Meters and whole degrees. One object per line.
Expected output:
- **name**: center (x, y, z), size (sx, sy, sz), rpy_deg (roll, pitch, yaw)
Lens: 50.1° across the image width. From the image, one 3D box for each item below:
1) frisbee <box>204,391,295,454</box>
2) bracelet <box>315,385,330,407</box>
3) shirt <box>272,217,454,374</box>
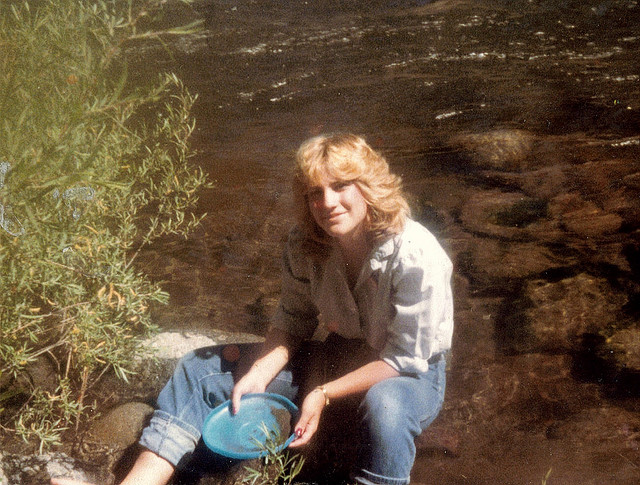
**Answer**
- **frisbee**: center (-0.379, 0.957, 3.627), size (0.477, 0.109, 0.362), rpy_deg (-17, 38, -19)
- **bracelet**: center (0.031, 0.800, 3.570), size (0.024, 0.088, 0.084), rpy_deg (-10, 36, -22)
- **shirt**: center (0.230, 0.273, 3.829), size (0.990, 0.727, 0.563), rpy_deg (18, 41, 26)
